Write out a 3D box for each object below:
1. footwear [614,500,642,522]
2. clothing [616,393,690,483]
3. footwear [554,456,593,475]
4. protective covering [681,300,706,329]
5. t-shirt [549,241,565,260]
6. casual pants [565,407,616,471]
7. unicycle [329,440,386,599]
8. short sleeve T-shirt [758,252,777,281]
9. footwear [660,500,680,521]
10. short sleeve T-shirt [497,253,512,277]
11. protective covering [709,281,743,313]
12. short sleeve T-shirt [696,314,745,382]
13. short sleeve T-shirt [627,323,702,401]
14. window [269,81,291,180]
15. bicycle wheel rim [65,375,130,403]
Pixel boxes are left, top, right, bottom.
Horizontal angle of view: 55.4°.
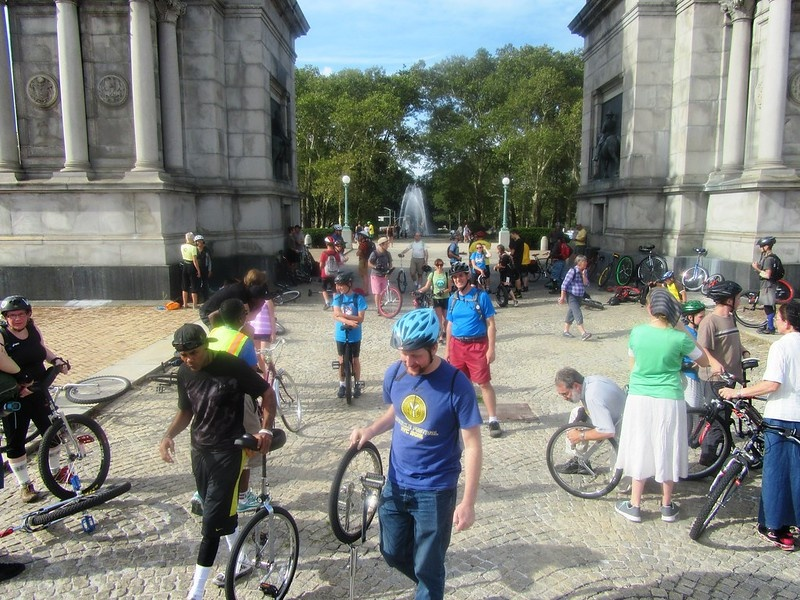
[{"bbox_3d":[2.678,2.472,8.906,0.132,0.184,0.353,5,6,-12],"label":"footwear"},{"bbox_3d":[2.956,1.461,8.847,0.739,1.136,0.598,3,22,25],"label":"clothing"},{"bbox_3d":[2.155,2.043,9.412,0.481,0.342,0.184,2,1,15],"label":"footwear"},{"bbox_3d":[3.972,0.202,10.309,0.297,0.321,0.281,-10,8,28],"label":"protective covering"},{"bbox_3d":[4.519,-1.435,22.072,0.361,0.737,0.598,6,14,22],"label":"t-shirt"},{"bbox_3d":[2.330,1.707,9.214,0.636,0.705,0.218,38,33,11],"label":"casual pants"},{"bbox_3d":[-0.436,2.197,7.936,0.538,1.749,1.140,-1,7,-2],"label":"unicycle"},{"bbox_3d":[7.954,-0.694,16.450,0.439,0.848,0.721,2,3,31],"label":"short sleeve T-shirt"},{"bbox_3d":[3.164,2.456,8.894,0.117,0.140,0.291,-5,12,33],"label":"footwear"},{"bbox_3d":[2.813,-0.958,20.311,0.385,0.683,0.719,-8,-10,11],"label":"short sleeve T-shirt"},{"bbox_3d":[4.185,-0.106,9.845,0.311,0.417,0.402,13,30,37],"label":"protective covering"},{"bbox_3d":[4.048,0.610,9.634,0.767,0.940,0.477,-5,4,-42],"label":"short sleeve T-shirt"},{"bbox_3d":[3.062,0.727,8.789,0.809,0.869,0.466,4,7,32],"label":"short sleeve T-shirt"},{"bbox_3d":[-4.187,-6.135,26.529,0.167,2.682,2.147,0,-5,-25],"label":"window"},{"bbox_3d":[-4.350,1.294,11.027,0.581,0.151,0.584,-12,13,-36],"label":"bicycle wheel rim"}]
